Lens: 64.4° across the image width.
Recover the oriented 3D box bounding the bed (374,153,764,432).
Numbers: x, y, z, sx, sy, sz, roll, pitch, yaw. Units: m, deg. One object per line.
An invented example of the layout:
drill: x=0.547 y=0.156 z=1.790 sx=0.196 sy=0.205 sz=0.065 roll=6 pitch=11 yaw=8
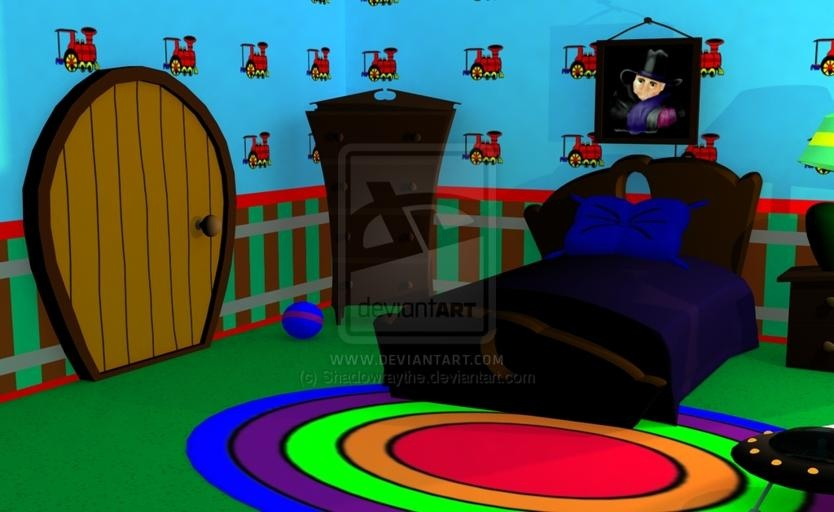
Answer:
bed: x=1.452 y=0.270 z=5.361 sx=2.141 sy=1.544 sz=2.643 roll=4 pitch=8 yaw=35
